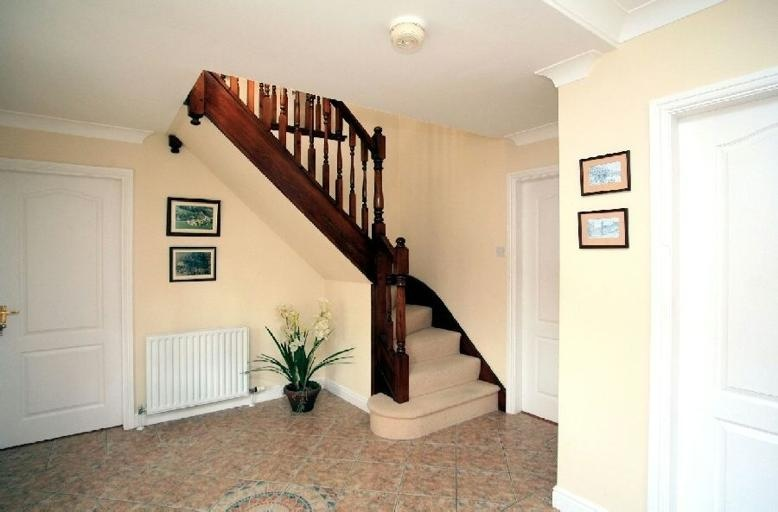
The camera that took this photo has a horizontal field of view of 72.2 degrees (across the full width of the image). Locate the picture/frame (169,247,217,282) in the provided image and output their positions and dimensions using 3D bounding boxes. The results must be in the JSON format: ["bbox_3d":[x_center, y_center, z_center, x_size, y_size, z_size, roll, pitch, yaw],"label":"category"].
[{"bbox_3d":[-2.047,0.088,5.586,0.449,0.384,0.035,-1,-20,-17],"label":"picture/frame"}]

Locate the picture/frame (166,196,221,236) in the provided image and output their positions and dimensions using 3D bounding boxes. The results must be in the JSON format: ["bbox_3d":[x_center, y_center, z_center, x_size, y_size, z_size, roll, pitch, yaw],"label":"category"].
[{"bbox_3d":[-2.067,-0.416,5.560,0.420,0.355,0.033,1,-2,-33],"label":"picture/frame"}]

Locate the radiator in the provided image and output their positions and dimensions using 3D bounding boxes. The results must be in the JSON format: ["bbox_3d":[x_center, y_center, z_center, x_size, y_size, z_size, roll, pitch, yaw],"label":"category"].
[{"bbox_3d":[-2.019,1.190,5.490,0.914,0.776,0.122,1,-3,-34],"label":"radiator"}]

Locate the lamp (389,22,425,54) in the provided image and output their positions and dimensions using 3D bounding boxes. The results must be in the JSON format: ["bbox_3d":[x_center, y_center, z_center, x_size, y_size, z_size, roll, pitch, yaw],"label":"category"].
[{"bbox_3d":[0.113,-1.511,3.646,0.213,0.179,0.124,-2,14,-7],"label":"lamp"}]

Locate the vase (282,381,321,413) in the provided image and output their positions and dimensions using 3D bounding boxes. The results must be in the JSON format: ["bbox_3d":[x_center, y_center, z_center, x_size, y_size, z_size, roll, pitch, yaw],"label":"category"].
[{"bbox_3d":[-0.910,1.502,5.596,0.312,0.209,0.321,0,-10,0],"label":"vase"}]

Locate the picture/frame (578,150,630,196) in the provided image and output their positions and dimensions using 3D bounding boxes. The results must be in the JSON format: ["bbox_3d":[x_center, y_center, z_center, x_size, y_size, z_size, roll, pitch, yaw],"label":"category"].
[{"bbox_3d":[1.591,-0.615,3.914,0.345,0.298,0.022,-1,0,42],"label":"picture/frame"}]

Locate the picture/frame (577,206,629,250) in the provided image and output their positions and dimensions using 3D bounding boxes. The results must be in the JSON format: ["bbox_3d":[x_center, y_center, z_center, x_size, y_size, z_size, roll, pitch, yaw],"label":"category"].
[{"bbox_3d":[1.585,-0.208,3.925,0.315,0.284,0.024,0,1,39],"label":"picture/frame"}]

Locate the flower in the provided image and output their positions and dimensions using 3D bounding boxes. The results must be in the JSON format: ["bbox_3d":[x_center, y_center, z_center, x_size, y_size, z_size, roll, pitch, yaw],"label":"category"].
[{"bbox_3d":[-0.960,0.988,5.874,0.994,0.672,0.983,1,0,-22],"label":"flower"}]
